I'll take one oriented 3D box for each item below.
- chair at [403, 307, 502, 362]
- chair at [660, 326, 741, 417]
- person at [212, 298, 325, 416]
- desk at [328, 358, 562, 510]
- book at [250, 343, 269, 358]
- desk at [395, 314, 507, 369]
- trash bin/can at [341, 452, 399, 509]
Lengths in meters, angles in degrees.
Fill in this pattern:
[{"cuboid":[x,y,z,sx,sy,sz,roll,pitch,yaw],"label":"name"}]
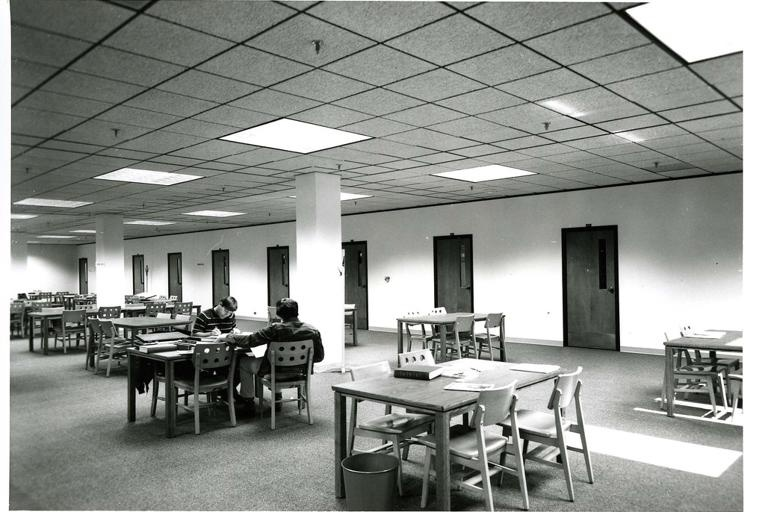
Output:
[{"cuboid":[1.155,1.365,10.389,1.295,0.672,1.316,4,6,45],"label":"chair"},{"cuboid":[4.228,1.519,7.716,0.945,0.983,1.692,-3,-5,30],"label":"chair"},{"cuboid":[-1.364,1.276,7.403,1.315,1.385,1.065,5,0,5],"label":"person"},{"cuboid":[0.531,1.703,5.542,1.871,1.164,1.192,2,-5,-30],"label":"desk"},{"cuboid":[-1.533,1.163,7.071,0.155,0.174,0.459,1,-5,-31],"label":"book"},{"cuboid":[0.977,1.591,10.166,1.740,0.764,0.945,2,-4,-45],"label":"desk"},{"cuboid":[-0.088,1.944,5.041,0.484,0.350,0.516,-3,-7,9],"label":"trash bin/can"}]
